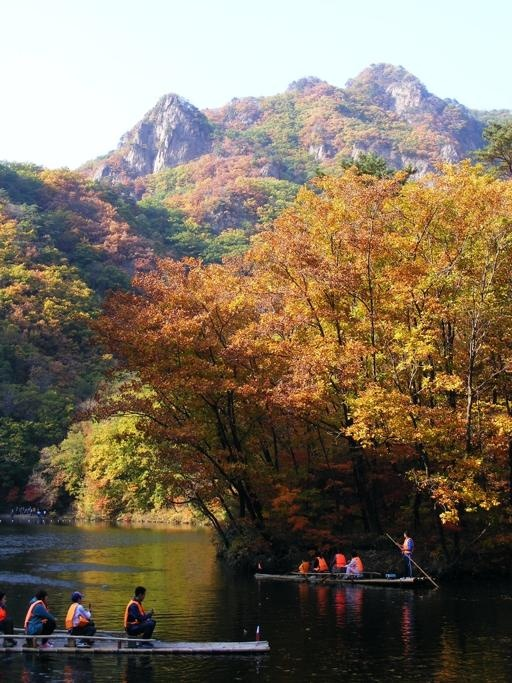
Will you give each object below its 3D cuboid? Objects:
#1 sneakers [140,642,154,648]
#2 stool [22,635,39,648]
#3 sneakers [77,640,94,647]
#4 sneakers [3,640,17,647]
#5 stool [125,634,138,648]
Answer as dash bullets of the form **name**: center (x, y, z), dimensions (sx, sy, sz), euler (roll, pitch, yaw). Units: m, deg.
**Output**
- **sneakers**: center (-2.960, 8.241, 34.742), dimensions (0.143, 0.153, 0.375), euler (8, -31, -23)
- **stool**: center (-6.117, 8.114, 34.492), dimensions (0.409, 0.326, 0.414), euler (-8, -12, 41)
- **sneakers**: center (-4.642, 8.205, 34.753), dimensions (0.168, 0.190, 0.490), euler (-2, -7, 22)
- **sneakers**: center (-6.699, 8.155, 34.599), dimensions (0.395, 0.248, 0.126), euler (-1, -10, 0)
- **stool**: center (-3.362, 8.182, 34.830), dimensions (0.336, 0.296, 0.324), euler (8, -14, -32)
